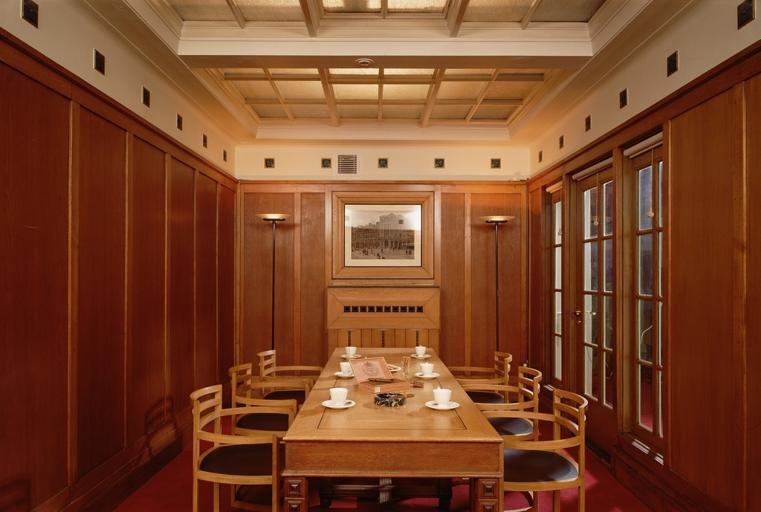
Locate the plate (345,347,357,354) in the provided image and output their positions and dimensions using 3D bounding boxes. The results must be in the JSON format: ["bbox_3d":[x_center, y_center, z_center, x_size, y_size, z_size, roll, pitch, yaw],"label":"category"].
[{"bbox_3d":[-0.301,0.986,5.460,0.105,0.087,0.101,1,-8,-10],"label":"plate"}]

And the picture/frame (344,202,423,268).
[{"bbox_3d":[0.039,-0.281,7.639,1.007,0.798,0.044,1,-1,0],"label":"picture/frame"}]

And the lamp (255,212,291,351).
[{"bbox_3d":[-1.541,0.248,7.411,0.403,1.722,0.434,5,7,33],"label":"lamp"}]

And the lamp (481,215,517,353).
[{"bbox_3d":[1.671,0.350,7.304,0.455,2.018,0.811,0,-4,13],"label":"lamp"}]

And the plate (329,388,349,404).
[{"bbox_3d":[-0.329,1.078,4.033,0.138,0.104,0.139,-1,-8,-1],"label":"plate"}]
